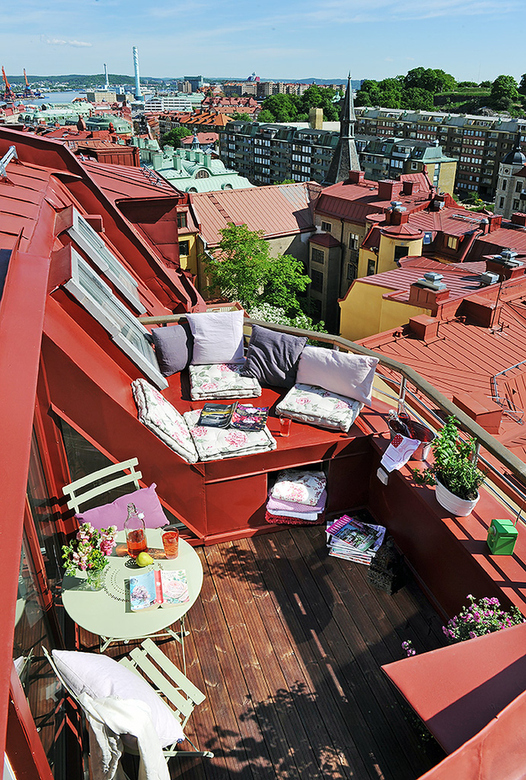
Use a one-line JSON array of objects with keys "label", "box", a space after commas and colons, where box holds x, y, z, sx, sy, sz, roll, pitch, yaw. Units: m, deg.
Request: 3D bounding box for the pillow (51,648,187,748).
[{"label": "pillow", "box": [-0.714, 1.525, 2.558, 0.408, 0.475, 0.525, -20, 33, -35]}]

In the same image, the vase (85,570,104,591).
[{"label": "vase", "box": [-1.158, 1.322, 3.539, 0.083, 0.174, 0.100, 19, 13, 6]}]

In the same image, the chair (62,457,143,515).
[{"label": "chair", "box": [-1.371, 0.817, 4.433, 0.296, 0.334, 0.502, -23, -9, -10]}]

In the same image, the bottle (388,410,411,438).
[{"label": "bottle", "box": [1.284, 0.335, 4.904, 0.179, 0.230, 0.232, -29, 54, -5]}]

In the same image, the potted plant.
[{"label": "potted plant", "box": [1.569, 0.747, 4.271, 0.474, 0.560, 0.393, 20, -7, -30]}]

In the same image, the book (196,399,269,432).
[{"label": "book", "box": [-0.300, 0.272, 5.285, 0.703, 0.054, 0.507, 5, 27, 10]}]

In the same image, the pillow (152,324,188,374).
[{"label": "pillow", "box": [-1.091, -0.482, 6.028, 0.241, 0.382, 0.479, 22, 29, 31]}]

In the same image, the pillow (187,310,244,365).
[{"label": "pillow", "box": [-0.570, -0.617, 6.127, 0.609, 0.584, 0.214, -2, 10, -4]}]

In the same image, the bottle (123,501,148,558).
[{"label": "bottle", "box": [-0.950, 1.064, 3.876, 0.149, 0.406, 0.146, -6, 8, 1]}]

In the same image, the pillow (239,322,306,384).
[{"label": "pillow", "box": [0.118, -0.406, 5.955, 0.584, 0.570, 0.315, 14, 16, 8]}]

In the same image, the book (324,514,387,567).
[{"label": "book", "box": [0.848, 1.421, 4.878, 0.541, 0.198, 0.459, 16, 30, 28]}]

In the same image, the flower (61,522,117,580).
[{"label": "flower", "box": [-1.196, 1.188, 3.637, 0.280, 0.313, 0.372, -4, 12, 41]}]

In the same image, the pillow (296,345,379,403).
[{"label": "pillow", "box": [0.789, -0.170, 5.590, 0.563, 0.352, 0.191, 14, 19, 28]}]
